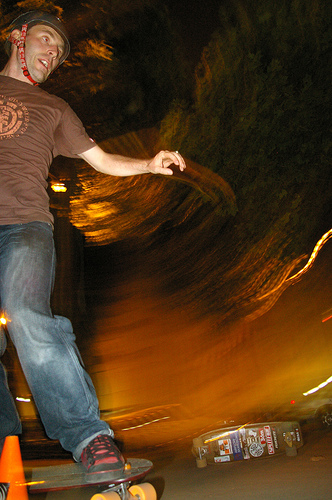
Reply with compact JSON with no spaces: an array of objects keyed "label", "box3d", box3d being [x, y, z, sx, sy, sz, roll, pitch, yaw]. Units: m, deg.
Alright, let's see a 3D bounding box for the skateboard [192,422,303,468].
[{"label":"skateboard","box3d":[0.705,1.610,3.609,1.072,0.329,0.144,-5,-9,3]}]
